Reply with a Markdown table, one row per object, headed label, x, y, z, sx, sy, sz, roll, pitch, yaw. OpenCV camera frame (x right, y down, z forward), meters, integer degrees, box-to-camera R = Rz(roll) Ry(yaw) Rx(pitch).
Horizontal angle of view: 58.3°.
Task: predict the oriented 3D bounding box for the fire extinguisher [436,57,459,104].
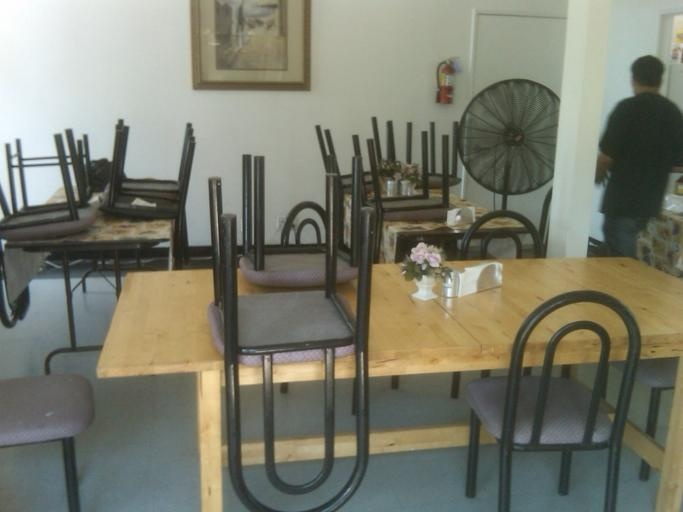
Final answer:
| label | x | y | z | sx | sy | sz | roll | pitch | yaw |
| --- | --- | --- | --- | --- | --- | --- | --- | --- | --- |
| fire extinguisher | 0.987 | -1.620 | 5.701 | 0.199 | 0.421 | 0.141 | 0 | 15 | 1 |
